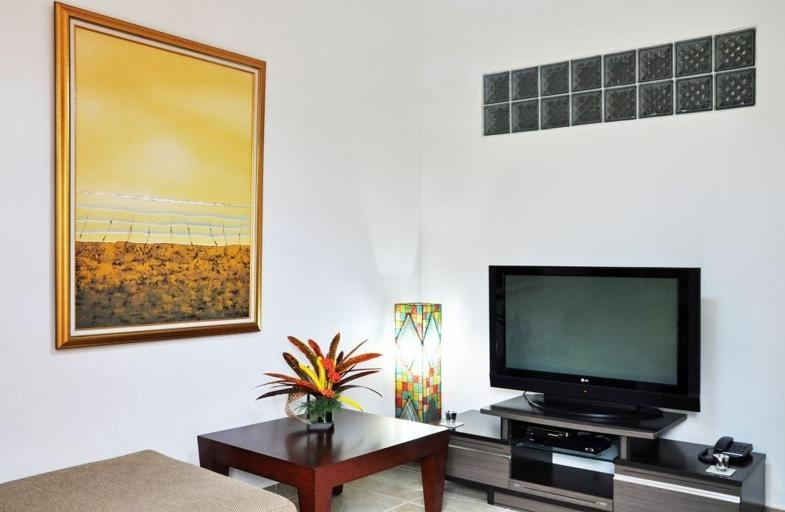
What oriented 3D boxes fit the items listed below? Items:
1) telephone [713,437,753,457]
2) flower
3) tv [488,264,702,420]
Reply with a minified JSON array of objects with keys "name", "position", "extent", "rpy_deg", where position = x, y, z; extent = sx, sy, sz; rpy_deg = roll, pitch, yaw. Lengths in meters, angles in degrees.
[{"name":"telephone","position":[2.434,1.338,4.330],"extent":[0.213,0.074,0.240],"rpy_deg":[-4,-1,37]},{"name":"flower","position":[-0.550,0.890,4.583],"extent":[0.831,0.525,0.800],"rpy_deg":[1,-1,-5]},{"name":"tv","position":[1.626,0.663,4.702],"extent":[1.307,0.842,0.382],"rpy_deg":[-1,-5,26]}]
